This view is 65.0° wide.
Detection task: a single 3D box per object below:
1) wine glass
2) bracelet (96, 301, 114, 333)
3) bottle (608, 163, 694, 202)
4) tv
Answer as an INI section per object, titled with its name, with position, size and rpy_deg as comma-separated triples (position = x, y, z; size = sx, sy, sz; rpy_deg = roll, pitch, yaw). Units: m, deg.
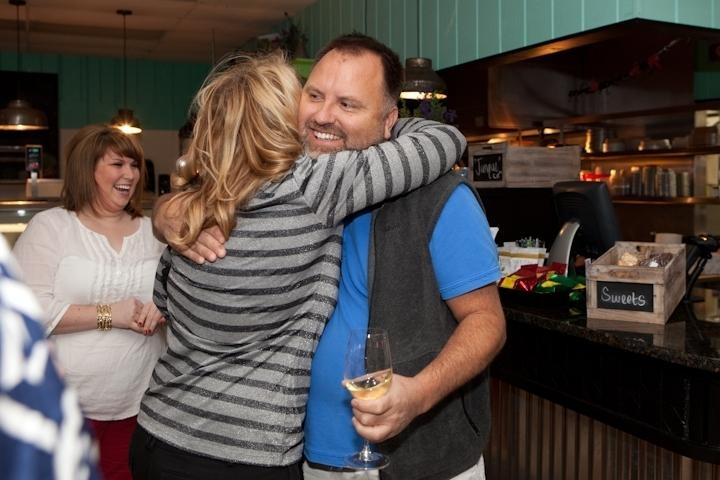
[wine glass]
position = 0.026, 0.491, 1.647
size = 0.137, 0.484, 0.209
rpy_deg = -1, 7, 2
[bracelet]
position = -1.163, 0.354, 2.562
size = 0.063, 0.111, 0.108
rpy_deg = 0, -1, -14
[bottle]
position = 2.983, -0.614, 5.839
size = 0.236, 0.308, 0.855
rpy_deg = -5, 9, -29
[tv]
position = 1.329, -0.108, 3.315
size = 0.368, 0.459, 0.177
rpy_deg = 2, 8, 23
